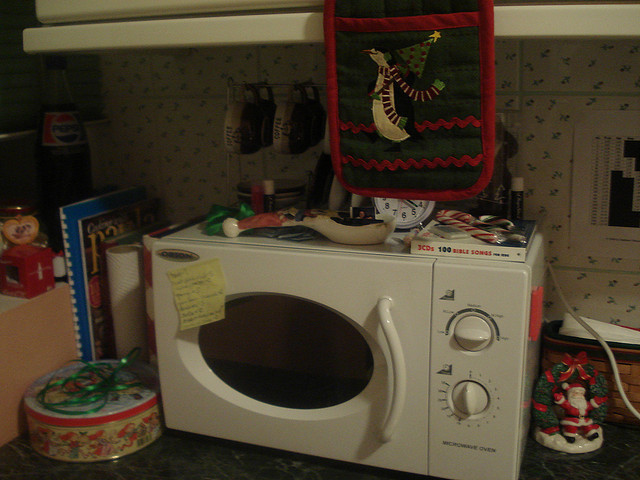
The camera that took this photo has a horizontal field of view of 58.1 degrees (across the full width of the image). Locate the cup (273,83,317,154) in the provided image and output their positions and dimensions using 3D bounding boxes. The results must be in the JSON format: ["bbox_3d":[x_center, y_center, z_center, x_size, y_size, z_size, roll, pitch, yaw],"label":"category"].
[{"bbox_3d":[-0.021,-0.260,1.262,0.104,0.146,0.128,11,13,26],"label":"cup"}]

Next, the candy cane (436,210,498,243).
[{"bbox_3d":[0.260,-0.025,1.026,0.095,0.013,0.047,20,29,37],"label":"candy cane"}]

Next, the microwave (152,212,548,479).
[{"bbox_3d":[0.087,0.156,1.148,0.825,0.380,0.497,4,14,20],"label":"microwave"}]

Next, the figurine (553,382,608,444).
[{"bbox_3d":[0.491,0.330,1.104,0.071,0.101,0.060,-6,13,-25],"label":"figurine"}]

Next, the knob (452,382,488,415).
[{"bbox_3d":[0.248,0.264,0.953,0.057,0.057,0.021,2,13,9],"label":"knob"}]
